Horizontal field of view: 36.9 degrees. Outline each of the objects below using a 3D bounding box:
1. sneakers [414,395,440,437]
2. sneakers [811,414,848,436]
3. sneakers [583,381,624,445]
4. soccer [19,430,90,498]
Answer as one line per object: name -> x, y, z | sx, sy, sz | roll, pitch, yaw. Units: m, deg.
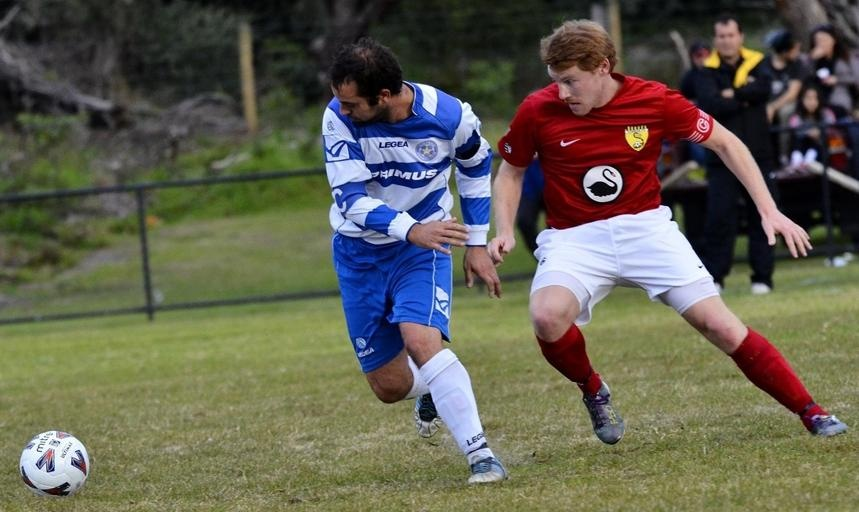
sneakers -> -0.026, 1.292, 10.412 | 0.159, 0.173, 0.391 | 0, 34, 2
sneakers -> 3.051, 1.284, 9.804 | 0.148, 0.110, 0.248 | -1, -7, -19
sneakers -> 1.359, 1.258, 10.168 | 0.200, 0.539, 0.222 | -32, -32, 20
soccer -> -2.982, 1.636, 10.227 | 0.533, 0.497, 0.467 | -10, -13, -21
